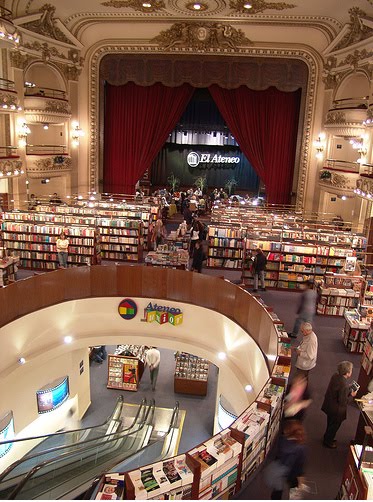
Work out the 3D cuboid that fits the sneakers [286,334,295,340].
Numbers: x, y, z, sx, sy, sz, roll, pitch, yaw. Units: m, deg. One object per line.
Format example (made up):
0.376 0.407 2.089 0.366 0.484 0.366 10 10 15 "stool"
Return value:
1.953 1.588 6.193 0.064 0.082 0.190 -7 12 -19 "sneakers"
